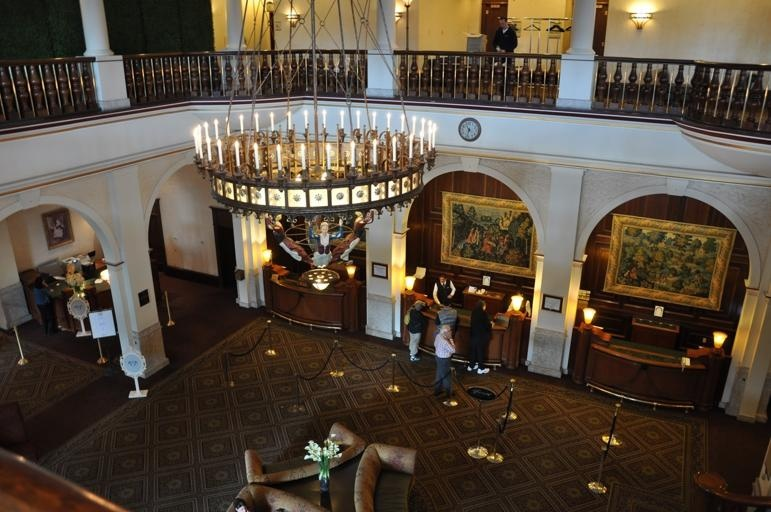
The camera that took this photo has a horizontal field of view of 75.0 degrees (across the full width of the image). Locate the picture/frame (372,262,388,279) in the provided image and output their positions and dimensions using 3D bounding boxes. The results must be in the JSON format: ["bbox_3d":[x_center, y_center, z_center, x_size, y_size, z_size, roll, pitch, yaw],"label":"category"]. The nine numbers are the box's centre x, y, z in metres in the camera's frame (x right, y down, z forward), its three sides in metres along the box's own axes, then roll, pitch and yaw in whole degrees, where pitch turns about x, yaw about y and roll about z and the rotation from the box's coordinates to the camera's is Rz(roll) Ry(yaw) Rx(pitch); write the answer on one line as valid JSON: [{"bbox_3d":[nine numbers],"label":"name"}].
[{"bbox_3d":[-0.128,0.318,11.987,0.371,0.316,0.027,12,31,23],"label":"picture/frame"}]

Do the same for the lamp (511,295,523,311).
[{"bbox_3d":[2.975,1.038,11.348,0.226,0.441,0.453,7,21,12],"label":"lamp"}]

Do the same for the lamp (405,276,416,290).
[{"bbox_3d":[0.615,0.639,11.953,0.293,0.291,0.293,7,13,26],"label":"lamp"}]

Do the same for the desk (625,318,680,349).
[{"bbox_3d":[6.096,1.756,11.360,1.145,0.762,0.618,7,12,30],"label":"desk"}]

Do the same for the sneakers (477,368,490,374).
[{"bbox_3d":[2.177,2.537,11.123,0.267,0.113,0.120,-1,47,-6],"label":"sneakers"}]

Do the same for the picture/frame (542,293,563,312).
[{"bbox_3d":[3.588,0.979,10.754,0.387,0.380,0.043,10,31,19],"label":"picture/frame"}]

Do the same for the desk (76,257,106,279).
[{"bbox_3d":[-7.980,0.332,13.551,0.514,0.507,0.295,-16,35,-29],"label":"desk"}]

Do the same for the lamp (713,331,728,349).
[{"bbox_3d":[6.617,1.653,9.964,0.286,0.331,0.168,-16,28,-41],"label":"lamp"}]

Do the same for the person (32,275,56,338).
[{"bbox_3d":[-8.415,1.177,12.428,0.471,1.633,0.367,-17,37,-41],"label":"person"}]

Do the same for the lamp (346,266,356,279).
[{"bbox_3d":[-0.925,0.403,12.887,0.324,0.344,0.310,6,11,31],"label":"lamp"}]

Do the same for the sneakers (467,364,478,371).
[{"bbox_3d":[1.936,2.492,11.179,0.243,0.100,0.094,-7,18,1],"label":"sneakers"}]

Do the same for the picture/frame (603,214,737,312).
[{"bbox_3d":[6.370,0.067,11.058,2.160,1.694,0.091,9,24,20],"label":"picture/frame"}]

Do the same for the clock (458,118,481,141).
[{"bbox_3d":[1.683,-2.562,9.992,0.423,0.418,0.061,10,27,26],"label":"clock"}]

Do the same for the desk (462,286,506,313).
[{"bbox_3d":[2.458,1.124,12.574,1.239,0.554,1.314,4,3,-15],"label":"desk"}]

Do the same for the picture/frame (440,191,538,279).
[{"bbox_3d":[2.593,-0.606,12.219,2.155,1.509,0.102,8,25,18],"label":"picture/frame"}]
